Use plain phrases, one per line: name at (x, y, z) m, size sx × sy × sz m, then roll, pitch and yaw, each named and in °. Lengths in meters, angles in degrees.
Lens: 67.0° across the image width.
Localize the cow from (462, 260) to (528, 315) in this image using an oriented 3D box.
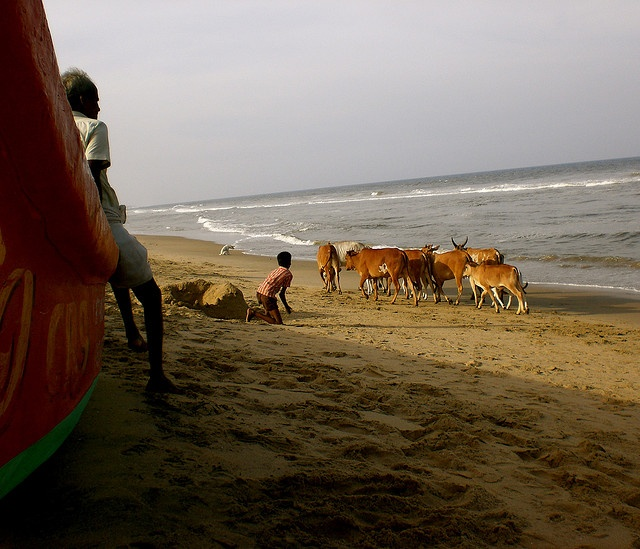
cow at (4.254, 0.293, 11.713) m, size 0.475 × 1.245 × 1.933 m, roll -2°, pitch 1°, yaw -26°

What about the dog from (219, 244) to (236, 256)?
dog at (-4.349, -1.158, 22.576) m, size 0.355 × 0.426 × 1.180 m, roll 3°, pitch 10°, yaw 9°

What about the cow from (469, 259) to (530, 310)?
cow at (4.228, 0.299, 11.727) m, size 0.508 × 1.230 × 2.041 m, roll 0°, pitch 0°, yaw -24°

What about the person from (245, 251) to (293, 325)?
person at (-0.766, 0.197, 8.633) m, size 0.719 × 1.242 × 2.126 m, roll 14°, pitch 2°, yaw -2°

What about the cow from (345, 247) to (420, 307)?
cow at (1.599, 0.008, 13.327) m, size 0.683 × 1.501 × 2.828 m, roll -4°, pitch 3°, yaw -35°

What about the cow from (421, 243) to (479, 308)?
cow at (3.481, -0.026, 13.545) m, size 0.608 × 1.633 × 2.275 m, roll 7°, pitch -3°, yaw -23°
